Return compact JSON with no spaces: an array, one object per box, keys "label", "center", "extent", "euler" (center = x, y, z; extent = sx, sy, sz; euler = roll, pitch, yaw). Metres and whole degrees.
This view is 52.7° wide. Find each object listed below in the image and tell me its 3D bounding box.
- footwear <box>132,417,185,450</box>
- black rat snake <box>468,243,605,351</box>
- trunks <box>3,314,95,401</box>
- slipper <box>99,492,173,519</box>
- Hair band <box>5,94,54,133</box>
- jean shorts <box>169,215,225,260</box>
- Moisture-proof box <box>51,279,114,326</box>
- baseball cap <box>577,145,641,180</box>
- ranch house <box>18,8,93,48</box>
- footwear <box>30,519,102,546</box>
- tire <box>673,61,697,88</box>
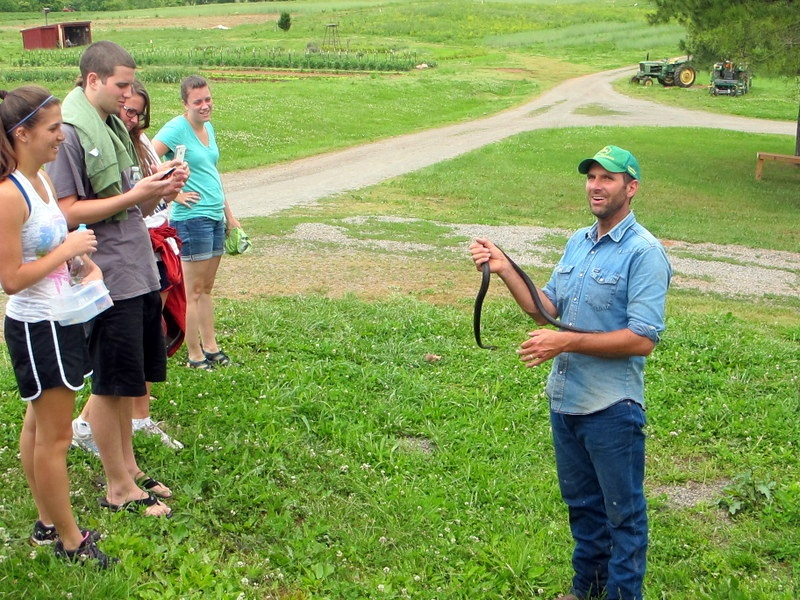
[{"label":"footwear","center":[-2.124,1.180,7.065],"extent":[0.429,0.172,0.141],"euler":[24,29,-4]},{"label":"black rat snake","center":[1.022,0.047,5.687],"extent":[1.069,0.211,0.648],"euler":[28,4,-26]},{"label":"trunks","center":[-2.544,0.390,5.951],"extent":[0.548,0.709,0.894],"euler":[-8,8,-15]},{"label":"slipper","center":[-2.049,1.611,6.317],"extent":[0.554,0.130,0.204],"euler":[4,10,-8]},{"label":"Hair band","center":[-2.568,-1.271,5.610],"extent":[0.304,0.082,0.242],"euler":[-41,15,3]},{"label":"jean shorts","center":[-2.042,-0.638,8.354],"extent":[0.410,0.451,0.676],"euler":[2,12,19]},{"label":"Moisture-proof box","center":[-2.243,0.019,5.718],"extent":[0.301,0.258,0.408],"euler":[-10,14,28]},{"label":"baseball cap","center":[1.617,-0.992,5.951],"extent":[0.402,0.191,0.275],"euler":[13,1,-29]},{"label":"ranch house","center":[-25.484,-19.685,60.237],"extent":[2.478,2.321,6.746],"euler":[4,15,4]},{"label":"footwear","center":[-2.468,1.710,5.972],"extent":[0.523,0.204,0.187],"euler":[2,31,-9]},{"label":"tire","center":[17.535,-13.805,49.787],"extent":[1.292,1.448,0.812],"euler":[4,16,4]}]
